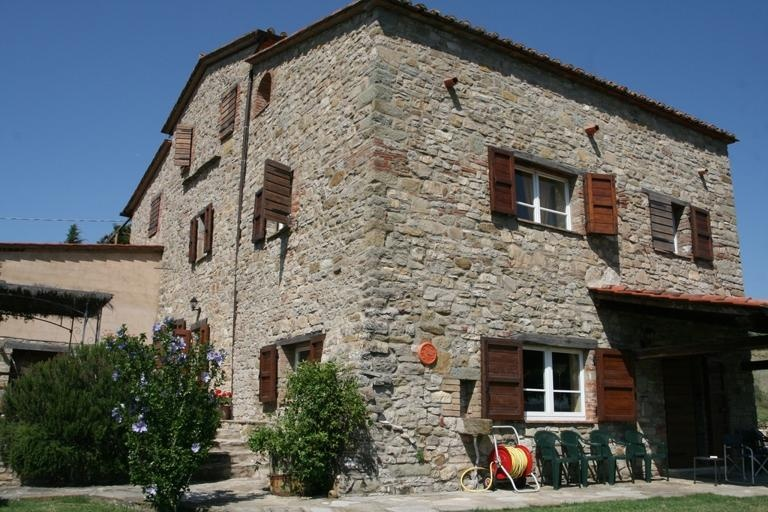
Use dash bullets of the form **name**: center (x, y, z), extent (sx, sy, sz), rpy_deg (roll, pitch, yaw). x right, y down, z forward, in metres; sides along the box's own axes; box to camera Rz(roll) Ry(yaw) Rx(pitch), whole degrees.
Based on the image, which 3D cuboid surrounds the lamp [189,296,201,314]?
- **lamp**: center (-4.703, 1.181, 20.456), extent (0.376, 0.487, 0.353), rpy_deg (0, -15, 2)

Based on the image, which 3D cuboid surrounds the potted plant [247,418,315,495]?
- **potted plant**: center (-1.913, 3.670, 14.975), extent (1.018, 1.320, 0.570), rpy_deg (-8, -22, 24)

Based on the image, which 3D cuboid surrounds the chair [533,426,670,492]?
- **chair**: center (4.211, 4.005, 16.272), extent (2.753, 1.177, 0.824), rpy_deg (8, -20, -22)
